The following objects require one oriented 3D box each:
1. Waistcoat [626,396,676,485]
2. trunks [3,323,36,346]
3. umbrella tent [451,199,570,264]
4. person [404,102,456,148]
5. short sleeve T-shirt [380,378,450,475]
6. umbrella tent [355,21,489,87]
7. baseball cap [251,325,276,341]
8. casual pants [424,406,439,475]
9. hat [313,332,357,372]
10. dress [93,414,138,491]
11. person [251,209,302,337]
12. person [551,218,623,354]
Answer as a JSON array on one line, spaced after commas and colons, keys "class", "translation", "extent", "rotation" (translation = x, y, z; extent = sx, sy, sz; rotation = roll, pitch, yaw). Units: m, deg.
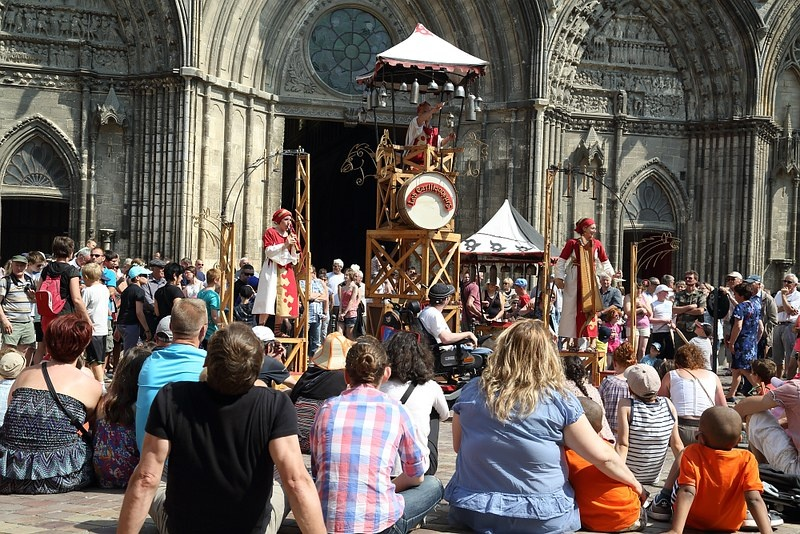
[{"class": "Waistcoat", "translation": [3.816, 2.600, 19.322], "extent": [0.842, 1.311, 1.263], "rotation": [3, 1, -3]}, {"class": "trunks", "translation": [-7.002, 1.272, 23.374], "extent": [0.387, 0.593, 0.670], "rotation": [-4, -6, 42]}, {"class": "umbrella tent", "translation": [2.560, -0.842, 29.716], "extent": [3.409, 1.182, 3.395], "rotation": [0, 6, -30]}, {"class": "person", "translation": [0.591, -2.624, 25.567], "extent": [0.975, 1.394, 0.972], "rotation": [0, -6, 12]}, {"class": "short sleeve T-shirt", "translation": [0.511, 2.283, 18.842], "extent": [0.767, 1.337, 0.576], "rotation": [23, -6, -12]}, {"class": "umbrella tent", "translation": [0.420, -4.267, 26.062], "extent": [1.563, 0.760, 1.545], "rotation": [6, -10, -30]}, {"class": "baseball cap", "translation": [-2.230, 1.094, 20.916], "extent": [0.401, 0.157, 0.282], "rotation": [4, 7, -21]}, {"class": "casual pants", "translation": [0.503, 2.688, 19.280], "extent": [0.268, 0.907, 0.251], "rotation": [-1, -7, 5]}, {"class": "hat", "translation": [-1.037, 1.270, 20.574], "extent": [0.753, 0.384, 0.988], "rotation": [4, 25, 14]}, {"class": "dress", "translation": [-4.303, 2.821, 19.387], "extent": [0.766, 1.092, 0.747], "rotation": [4, 3, 36]}, {"class": "person", "translation": [-2.333, 0.084, 23.974], "extent": [0.874, 2.316, 0.831], "rotation": [3, 2, 11]}, {"class": "person", "translation": [3.587, 0.327, 24.389], "extent": [1.244, 2.463, 0.751], "rotation": [2, 4, 6]}]
